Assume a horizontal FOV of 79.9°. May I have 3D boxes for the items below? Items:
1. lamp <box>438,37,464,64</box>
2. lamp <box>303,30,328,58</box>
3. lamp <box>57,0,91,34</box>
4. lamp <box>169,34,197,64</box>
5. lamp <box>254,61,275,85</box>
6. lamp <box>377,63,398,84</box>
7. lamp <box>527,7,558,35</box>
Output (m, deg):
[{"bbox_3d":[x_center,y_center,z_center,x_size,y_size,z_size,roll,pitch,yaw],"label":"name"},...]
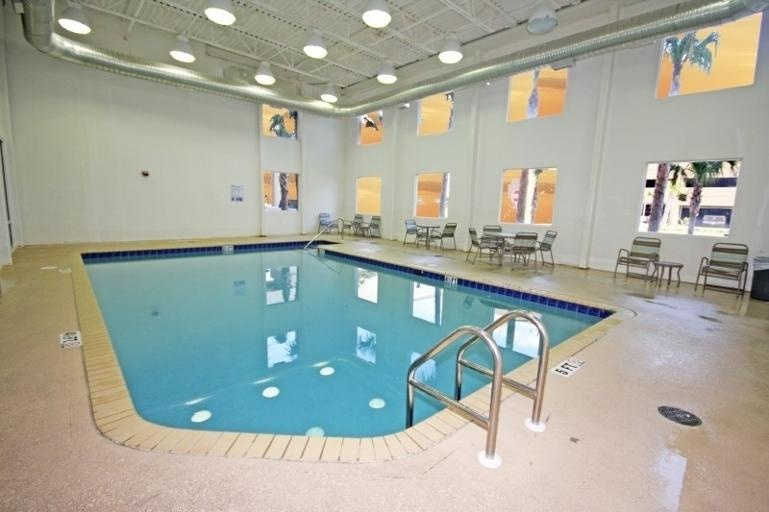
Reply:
[{"bbox_3d":[1.265,-3.907,8.689,0.361,0.472,0.375,3,9,17],"label":"lamp"},{"bbox_3d":[-1.334,-3.927,8.729,0.468,0.507,0.470,3,3,-24],"label":"lamp"},{"bbox_3d":[-5.664,-4.378,8.374,0.413,0.581,0.416,-4,10,-29],"label":"lamp"},{"bbox_3d":[-4.210,-4.336,9.531,0.379,0.566,0.466,-3,9,-23],"label":"lamp"},{"bbox_3d":[-2.757,-4.239,10.571,0.357,0.527,0.496,0,8,-10],"label":"lamp"},{"bbox_3d":[0.068,-3.832,9.643,0.328,0.402,0.514,1,8,3],"label":"lamp"},{"bbox_3d":[2.841,-4.246,8.243,0.479,0.343,0.420,8,10,41],"label":"lamp"}]
